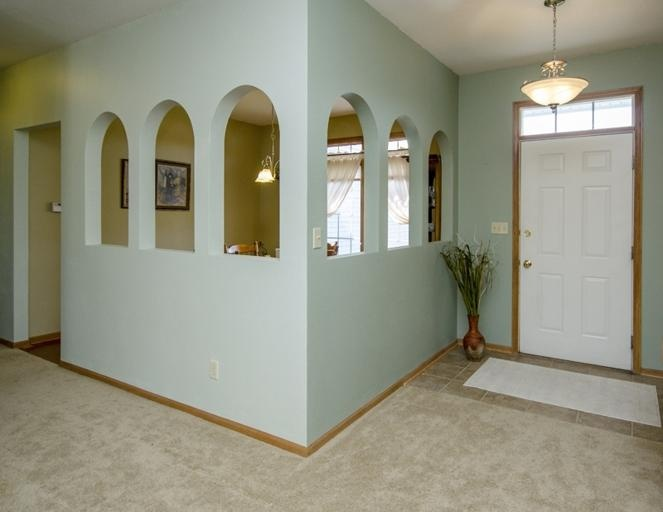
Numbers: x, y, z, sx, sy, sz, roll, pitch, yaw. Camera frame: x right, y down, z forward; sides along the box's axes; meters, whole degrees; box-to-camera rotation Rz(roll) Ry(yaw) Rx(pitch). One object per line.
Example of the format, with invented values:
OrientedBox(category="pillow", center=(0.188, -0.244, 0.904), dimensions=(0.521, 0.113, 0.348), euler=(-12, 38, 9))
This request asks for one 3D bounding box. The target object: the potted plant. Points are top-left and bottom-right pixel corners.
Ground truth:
OrientedBox(category="potted plant", center=(1.489, 0.461, 4.971), dimensions=(0.506, 1.216, 0.571), euler=(6, 12, 31))

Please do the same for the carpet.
OrientedBox(category="carpet", center=(2.130, 1.206, 4.115), dimensions=(1.540, 0.075, 0.899), euler=(6, 13, 27))

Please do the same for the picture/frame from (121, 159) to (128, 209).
OrientedBox(category="picture/frame", center=(-2.521, -0.875, 5.436), dimensions=(0.039, 0.589, 0.110), euler=(10, 14, 44))
